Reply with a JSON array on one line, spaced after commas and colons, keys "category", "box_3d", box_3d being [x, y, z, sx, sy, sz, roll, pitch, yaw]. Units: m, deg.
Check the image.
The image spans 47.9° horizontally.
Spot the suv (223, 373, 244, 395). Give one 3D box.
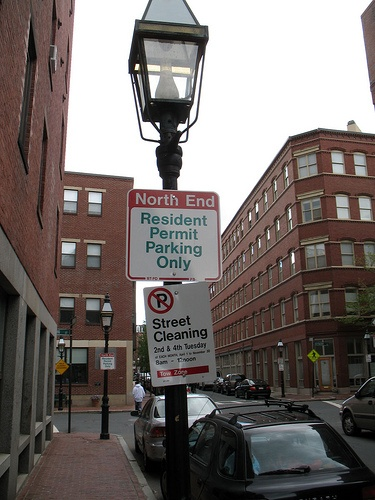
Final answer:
[{"category": "suv", "box_3d": [4.187, 12.217, 38.777, 1.326, 1.445, 2.485, 1, -14, -4]}]

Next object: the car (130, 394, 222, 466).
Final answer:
[{"category": "car", "box_3d": [-0.453, 3.924, 9.750, 1.484, 1.308, 3.452, 3, -20, -13]}]

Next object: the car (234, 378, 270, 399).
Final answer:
[{"category": "car", "box_3d": [4.994, 10.807, 32.863, 1.325, 1.434, 3.032, 10, -22, -31]}]
